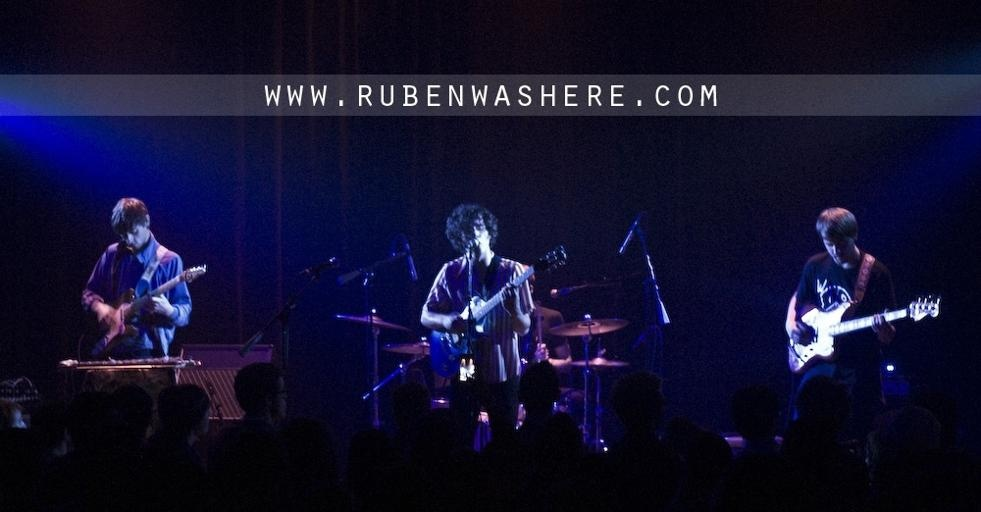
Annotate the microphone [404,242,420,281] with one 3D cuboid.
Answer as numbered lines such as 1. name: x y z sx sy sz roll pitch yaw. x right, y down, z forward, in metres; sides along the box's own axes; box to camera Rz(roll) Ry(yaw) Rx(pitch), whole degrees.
1. microphone: -1.267 0.068 13.295 0.162 0.632 0.190 -14 25 15

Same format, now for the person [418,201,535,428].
1. person: -0.125 0.721 10.798 1.510 3.043 1.108 1 -1 -29

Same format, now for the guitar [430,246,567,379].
1. guitar: 0.072 0.799 11.100 2.265 0.796 0.257 -38 -22 4

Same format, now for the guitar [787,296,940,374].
1. guitar: 4.818 1.051 11.349 2.133 0.888 0.293 -14 -25 38
